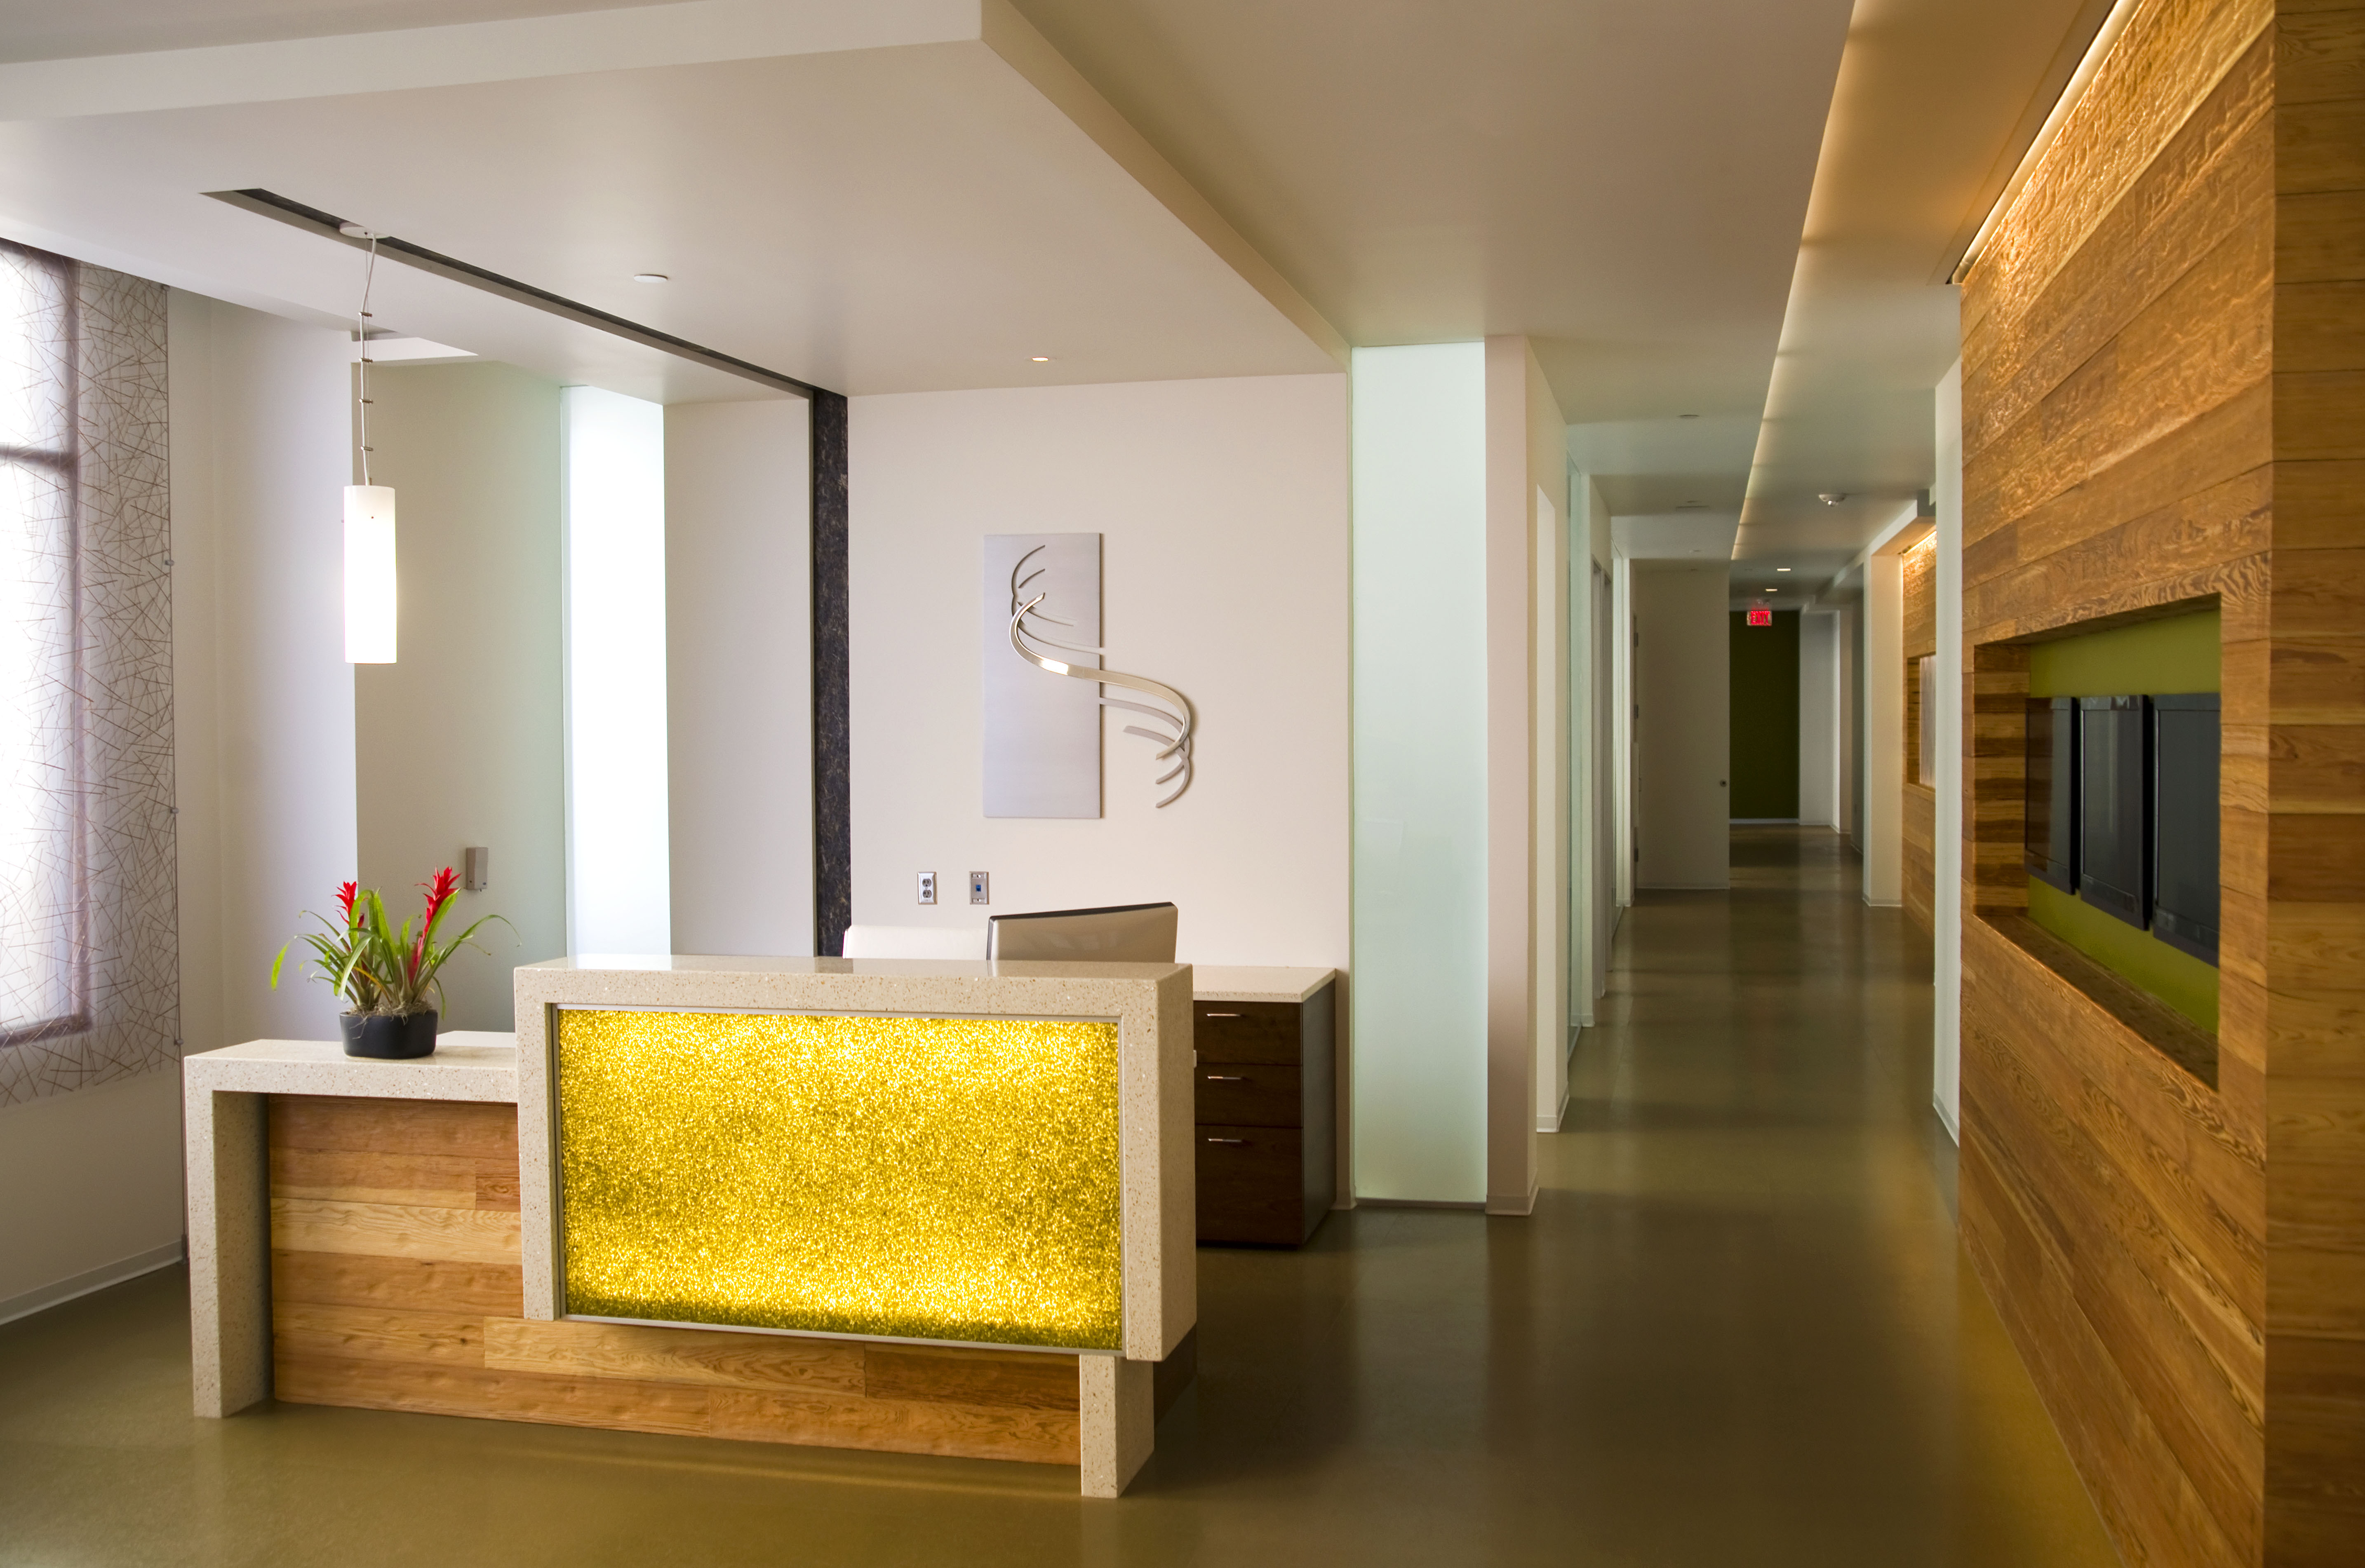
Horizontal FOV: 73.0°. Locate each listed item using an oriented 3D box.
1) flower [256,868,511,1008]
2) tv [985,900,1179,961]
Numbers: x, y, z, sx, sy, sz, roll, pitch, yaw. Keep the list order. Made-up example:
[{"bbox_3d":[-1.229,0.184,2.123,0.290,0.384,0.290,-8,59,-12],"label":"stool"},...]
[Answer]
[{"bbox_3d":[-3.456,0.642,6.794,0.795,0.328,0.801,-1,0,7],"label":"flower"},{"bbox_3d":[-0.365,0.561,5.713,0.780,0.216,0.293,-4,5,-31],"label":"tv"}]
